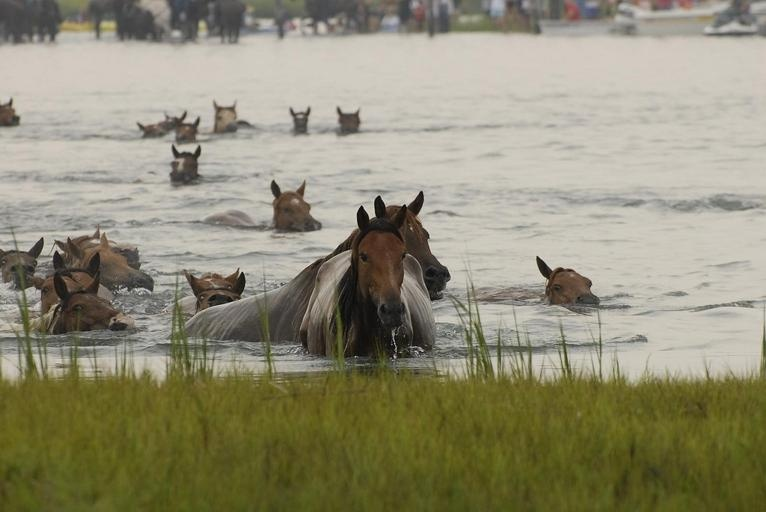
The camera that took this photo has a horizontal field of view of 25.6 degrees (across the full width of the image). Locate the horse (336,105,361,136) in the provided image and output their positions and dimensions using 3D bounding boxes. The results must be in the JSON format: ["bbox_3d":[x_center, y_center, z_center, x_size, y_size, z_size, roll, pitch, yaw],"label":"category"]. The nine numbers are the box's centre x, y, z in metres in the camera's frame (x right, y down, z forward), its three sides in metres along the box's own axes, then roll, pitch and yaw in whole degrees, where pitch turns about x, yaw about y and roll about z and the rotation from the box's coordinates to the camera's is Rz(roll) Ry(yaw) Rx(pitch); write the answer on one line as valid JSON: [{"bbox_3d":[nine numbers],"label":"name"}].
[{"bbox_3d":[-0.691,-2.755,35.124,0.456,0.564,0.692,-2,6,-2],"label":"horse"}]

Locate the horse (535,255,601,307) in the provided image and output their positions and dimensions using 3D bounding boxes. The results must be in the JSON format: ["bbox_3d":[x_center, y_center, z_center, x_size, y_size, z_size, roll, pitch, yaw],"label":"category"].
[{"bbox_3d":[3.191,0.700,29.063,0.575,1.437,1.964,-8,-1,-9],"label":"horse"}]

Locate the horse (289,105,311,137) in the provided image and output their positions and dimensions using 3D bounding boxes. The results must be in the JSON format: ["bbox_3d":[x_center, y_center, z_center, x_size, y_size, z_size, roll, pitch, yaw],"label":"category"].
[{"bbox_3d":[-1.713,-2.791,35.628,0.440,0.599,0.822,-2,6,-4],"label":"horse"}]

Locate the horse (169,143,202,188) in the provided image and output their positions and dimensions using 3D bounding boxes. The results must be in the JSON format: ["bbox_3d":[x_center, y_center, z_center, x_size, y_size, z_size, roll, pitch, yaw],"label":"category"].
[{"bbox_3d":[-3.957,-1.791,34.110,0.608,0.824,0.890,-3,6,-8],"label":"horse"}]

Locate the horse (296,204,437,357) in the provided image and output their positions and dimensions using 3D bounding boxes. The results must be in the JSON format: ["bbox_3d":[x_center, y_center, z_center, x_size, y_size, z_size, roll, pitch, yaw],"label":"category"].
[{"bbox_3d":[-0.201,0.333,25.482,1.909,2.422,2.074,-2,6,1],"label":"horse"}]
